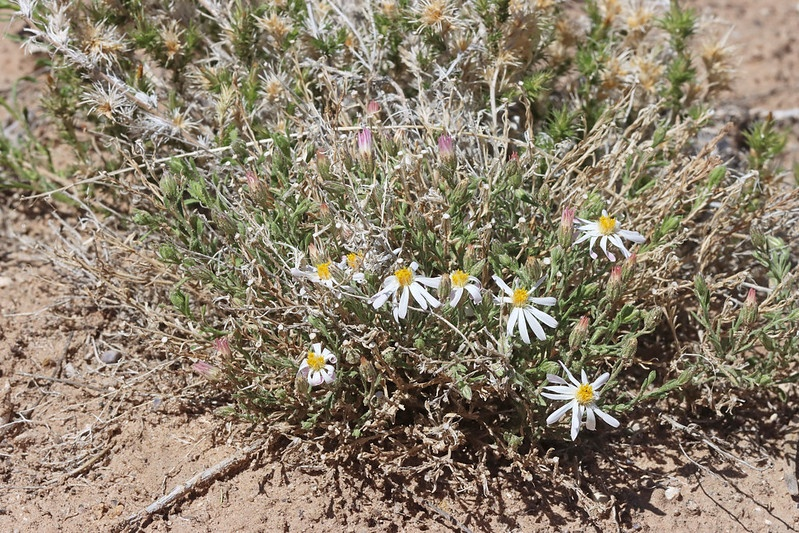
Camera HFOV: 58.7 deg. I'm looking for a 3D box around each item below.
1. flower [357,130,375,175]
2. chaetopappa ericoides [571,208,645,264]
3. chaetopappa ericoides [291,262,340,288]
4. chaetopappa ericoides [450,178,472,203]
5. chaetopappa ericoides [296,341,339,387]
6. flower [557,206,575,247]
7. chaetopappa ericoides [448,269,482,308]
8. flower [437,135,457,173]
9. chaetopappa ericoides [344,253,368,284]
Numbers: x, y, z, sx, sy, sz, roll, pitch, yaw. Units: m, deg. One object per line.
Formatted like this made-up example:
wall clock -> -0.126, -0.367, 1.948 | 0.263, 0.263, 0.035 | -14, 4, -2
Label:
flower -> -0.154, -0.530, 3.288 | 0.068, 0.193, 0.114 | -4, 55, 0
chaetopappa ericoides -> 0.959, -0.149, 3.284 | 0.263, 0.125, 0.268 | -13, 51, -22
chaetopappa ericoides -> -0.363, 0.037, 3.194 | 0.138, 0.143, 0.054 | 12, 88, 8
chaetopappa ericoides -> 0.280, -0.354, 3.295 | 0.043, 0.099, 0.042 | -13, 67, -12
chaetopappa ericoides -> -0.380, 0.437, 3.231 | 0.185, 0.101, 0.179 | 34, 92, 5
flower -> 0.758, -0.172, 3.224 | 0.074, 0.154, 0.120 | 3, 56, 5
chaetopappa ericoides -> 0.293, 0.092, 3.173 | 0.147, 0.224, 0.188 | 2, 56, 4
flower -> 0.218, -0.536, 3.265 | 0.081, 0.136, 0.162 | 1, 56, 3
chaetopappa ericoides -> -0.207, 0.003, 3.242 | 0.084, 0.069, 0.128 | -11, 75, -38
